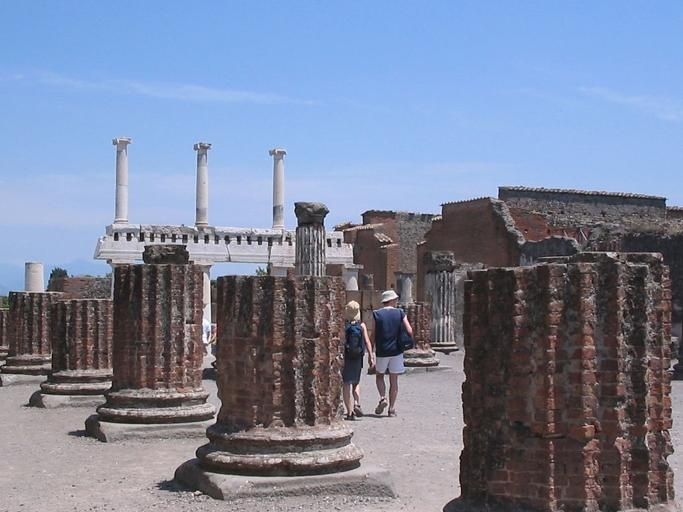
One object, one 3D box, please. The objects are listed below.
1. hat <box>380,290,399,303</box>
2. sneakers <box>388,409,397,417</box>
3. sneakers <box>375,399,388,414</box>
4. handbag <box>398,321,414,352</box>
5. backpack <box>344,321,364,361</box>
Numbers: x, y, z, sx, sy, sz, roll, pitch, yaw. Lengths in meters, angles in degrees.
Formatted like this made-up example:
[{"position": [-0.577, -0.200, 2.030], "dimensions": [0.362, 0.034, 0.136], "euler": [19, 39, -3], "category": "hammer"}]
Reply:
[{"position": [0.758, 0.597, 21.178], "dimensions": [0.235, 0.138, 0.262], "euler": [-17, -5, 40], "category": "hat"}, {"position": [0.781, 2.295, 20.937], "dimensions": [0.076, 0.089, 0.218], "euler": [0, -11, -1], "category": "sneakers"}, {"position": [0.617, 2.229, 20.895], "dimensions": [0.127, 0.285, 0.120], "euler": [10, 29, -30], "category": "sneakers"}, {"position": [0.965, 1.196, 20.859], "dimensions": [0.193, 0.396, 0.179], "euler": [0, -1, 3], "category": "handbag"}, {"position": [0.229, 1.225, 20.623], "dimensions": [0.266, 0.527, 0.244], "euler": [0, -1, 1], "category": "backpack"}]
